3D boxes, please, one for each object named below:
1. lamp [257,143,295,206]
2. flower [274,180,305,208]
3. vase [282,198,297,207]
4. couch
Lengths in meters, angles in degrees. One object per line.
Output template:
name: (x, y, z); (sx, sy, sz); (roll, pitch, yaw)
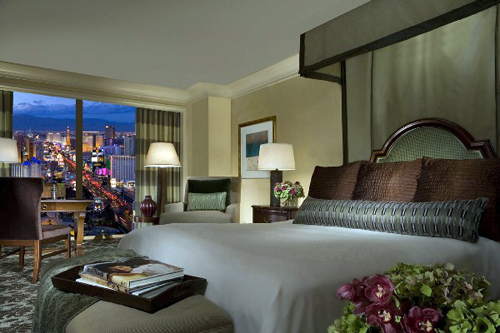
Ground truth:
lamp: (0.366, 0.127, 5.480); (0.758, 1.246, 0.789); (0, -1, 6)
flower: (0.523, 0.395, 4.928); (0.357, 0.321, 0.371); (1, -7, 1)
vase: (0.556, 0.480, 4.881); (0.137, 0.092, 0.140); (1, 0, -27)
couch: (-0.741, 0.560, 5.564); (0.867, 0.970, 0.900); (-2, -13, 12)
